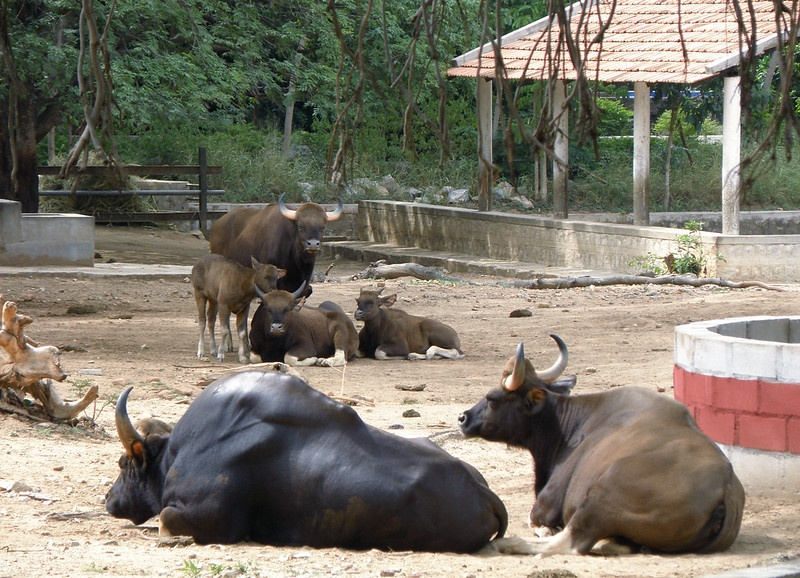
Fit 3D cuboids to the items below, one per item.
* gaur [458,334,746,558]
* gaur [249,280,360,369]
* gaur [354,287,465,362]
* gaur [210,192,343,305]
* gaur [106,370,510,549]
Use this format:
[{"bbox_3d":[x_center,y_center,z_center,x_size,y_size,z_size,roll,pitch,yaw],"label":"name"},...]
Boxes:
[{"bbox_3d":[1.703,1.515,13.313,2.695,1.843,1.526,8,4,32],"label":"gaur"},{"bbox_3d":[-1.303,0.491,19.357,1.358,1.042,2.220,3,1,19],"label":"gaur"},{"bbox_3d":[0.068,0.565,20.083,2.023,0.894,0.735,11,-8,-40],"label":"gaur"},{"bbox_3d":[-1.825,-0.475,21.845,0.922,1.585,2.870,2,0,-35],"label":"gaur"},{"bbox_3d":[-0.635,1.460,12.905,3.665,1.682,1.366,5,-4,13],"label":"gaur"}]
